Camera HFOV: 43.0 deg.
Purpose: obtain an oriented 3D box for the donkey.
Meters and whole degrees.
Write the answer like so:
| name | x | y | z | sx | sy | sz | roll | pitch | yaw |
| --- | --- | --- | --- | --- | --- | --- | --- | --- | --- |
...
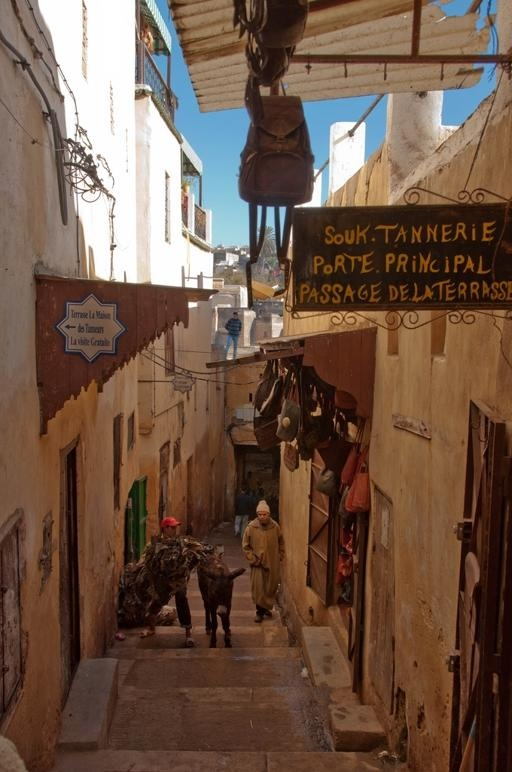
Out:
| name | x | y | z | sx | sy | sz | roll | pitch | yaw |
| --- | --- | --- | --- | --- | --- | --- | --- | --- | --- |
| donkey | -0.423 | 2.374 | 7.248 | 0.406 | 1.264 | 0.528 | 2 | 8 | -14 |

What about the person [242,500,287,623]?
| name | x | y | z | sx | sy | sz | roll | pitch | yaw |
| --- | --- | --- | --- | --- | --- | --- | --- | --- | --- |
| person | 0.095 | 2.140 | 8.295 | 0.377 | 1.846 | 0.572 | 0 | 0 | -2 |

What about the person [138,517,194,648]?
| name | x | y | z | sx | sy | sz | roll | pitch | yaw |
| --- | --- | --- | --- | --- | --- | --- | --- | --- | --- |
| person | -1.021 | 2.229 | 7.574 | 0.569 | 1.382 | 1.114 | 2 | -6 | -12 |
